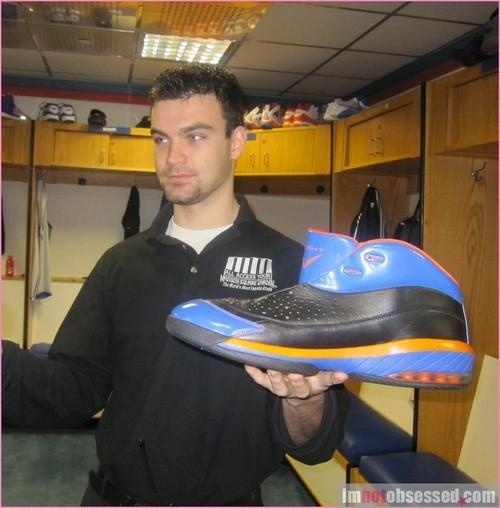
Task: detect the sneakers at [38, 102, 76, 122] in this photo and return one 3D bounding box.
[{"bbox_3d":[-1.694,-1.237,3.710,0.215,0.117,0.311,-2,21,-27],"label":"sneakers"}]

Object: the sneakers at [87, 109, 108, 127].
[{"bbox_3d":[-1.335,-1.176,3.696,0.126,0.102,0.190,9,32,-14],"label":"sneakers"}]
